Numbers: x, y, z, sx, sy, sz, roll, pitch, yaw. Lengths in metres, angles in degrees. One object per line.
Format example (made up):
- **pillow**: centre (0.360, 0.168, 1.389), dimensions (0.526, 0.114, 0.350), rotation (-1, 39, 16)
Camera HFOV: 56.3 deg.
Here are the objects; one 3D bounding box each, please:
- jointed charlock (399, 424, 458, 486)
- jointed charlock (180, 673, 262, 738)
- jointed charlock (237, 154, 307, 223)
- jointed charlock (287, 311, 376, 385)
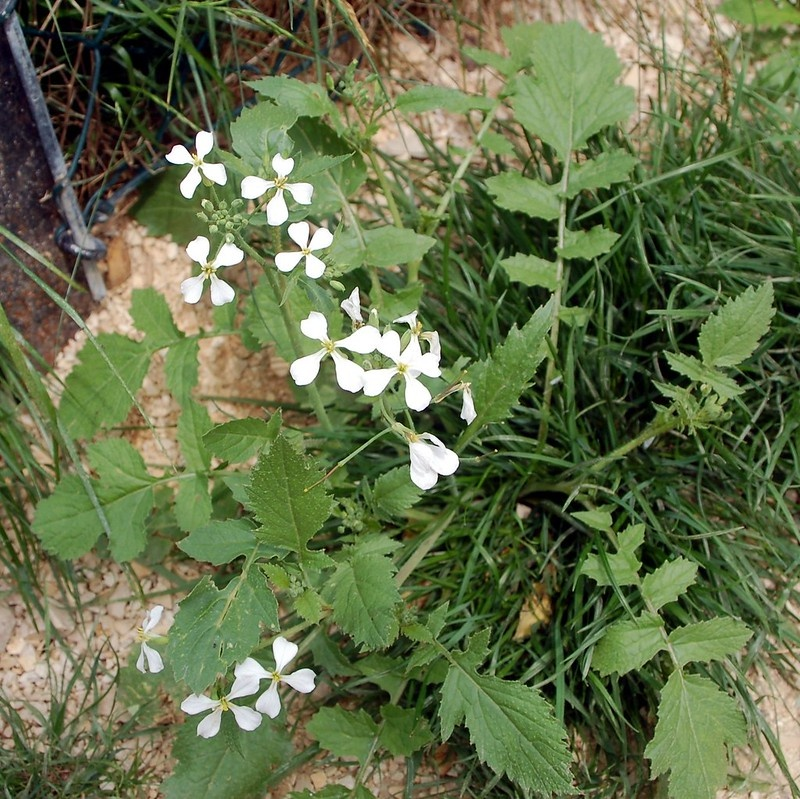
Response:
- **jointed charlock**: centre (0.053, 0.123, 1.788), dimensions (0.148, 0.138, 0.068), rotation (-15, 88, -55)
- **jointed charlock**: centre (-0.429, 0.753, 1.817), dimensions (0.200, 0.185, 0.064), rotation (4, 24, -18)
- **jointed charlock**: centre (-0.292, -0.467, 1.781), dimensions (0.171, 0.088, 0.171), rotation (-2, 82, -13)
- **jointed charlock**: centre (-0.161, -0.085, 1.766), dimensions (0.192, 0.073, 0.179), rotation (11, 71, 2)
